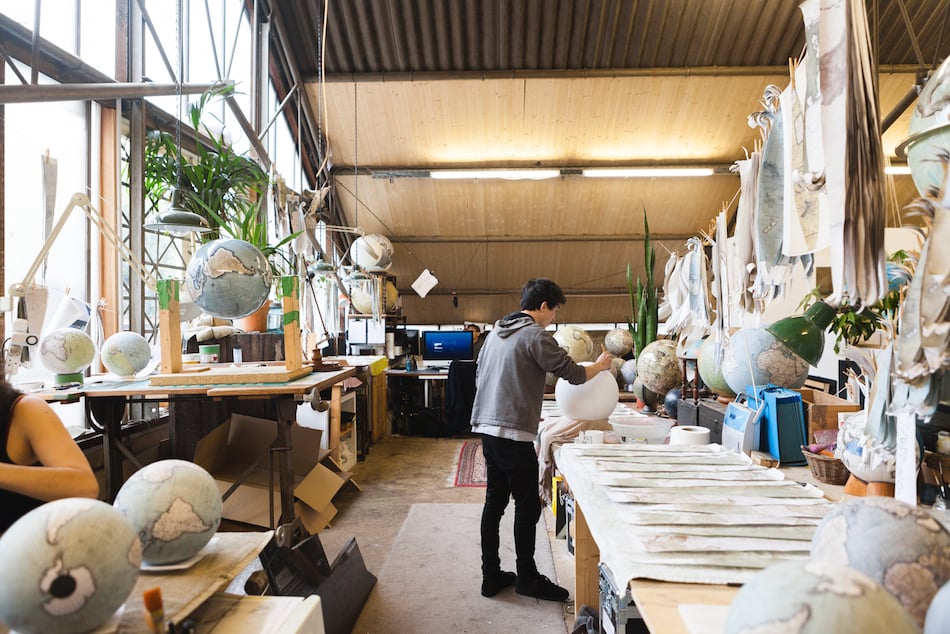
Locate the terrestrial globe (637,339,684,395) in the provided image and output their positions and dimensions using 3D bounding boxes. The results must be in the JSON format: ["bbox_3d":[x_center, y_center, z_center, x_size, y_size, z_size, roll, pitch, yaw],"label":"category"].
[{"bbox_3d":[1.168,0.308,4.250,0.274,0.368,0.293,-5,4,-12],"label":"terrestrial globe"}]

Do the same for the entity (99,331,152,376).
[{"bbox_3d":[-2.035,0.220,3.958,0.260,0.269,0.247,1,-21,16],"label":"entity"}]

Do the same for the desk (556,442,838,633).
[{"bbox_3d":[0.805,0.734,2.473,0.501,0.472,0.894,1,1,1],"label":"desk"}]

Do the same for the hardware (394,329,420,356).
[{"bbox_3d":[-0.873,0.325,8.373,0.290,0.302,0.144,2,-6,-41],"label":"hardware"}]

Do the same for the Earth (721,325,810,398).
[{"bbox_3d":[1.205,0.213,2.840,0.273,0.306,0.296,22,-13,-12],"label":"Earth"}]

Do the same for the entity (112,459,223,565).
[{"bbox_3d":[-1.037,0.624,2.380,0.323,0.351,0.330,20,-15,-9],"label":"entity"}]

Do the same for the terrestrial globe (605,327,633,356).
[{"bbox_3d":[1.255,0.222,5.804,0.185,0.212,0.209,8,-11,4],"label":"terrestrial globe"}]

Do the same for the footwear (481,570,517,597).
[{"bbox_3d":[0.130,1.531,3.915,0.271,0.132,0.092,-2,0,-42],"label":"footwear"}]

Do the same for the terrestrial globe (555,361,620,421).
[{"bbox_3d":[0.703,0.452,4.362,0.344,0.457,0.358,0,15,-17],"label":"terrestrial globe"}]

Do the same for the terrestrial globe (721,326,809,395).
[{"bbox_3d":[1.214,0.220,2.836,0.272,0.304,0.296,22,-14,-12],"label":"terrestrial globe"}]

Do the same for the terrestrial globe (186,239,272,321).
[{"bbox_3d":[-1.318,-0.252,3.601,0.392,0.448,0.401,9,22,16],"label":"terrestrial globe"}]

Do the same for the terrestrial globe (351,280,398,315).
[{"bbox_3d":[-1.188,-0.241,7.941,0.369,0.295,0.938,0,0,24],"label":"terrestrial globe"}]

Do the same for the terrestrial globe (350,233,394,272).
[{"bbox_3d":[-1.137,-0.663,7.246,0.420,0.386,0.399,1,17,28],"label":"terrestrial globe"}]

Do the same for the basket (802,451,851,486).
[{"bbox_3d":[1.502,0.651,2.853,0.125,0.061,0.133,0,0,20],"label":"basket"}]

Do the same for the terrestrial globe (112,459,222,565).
[{"bbox_3d":[-1.042,0.667,2.372,0.319,0.352,0.333,14,-21,-4],"label":"terrestrial globe"}]

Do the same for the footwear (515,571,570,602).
[{"bbox_3d":[0.371,1.512,3.800,0.322,0.158,0.128,2,-1,4],"label":"footwear"}]

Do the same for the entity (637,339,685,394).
[{"bbox_3d":[1.150,0.336,4.306,0.273,0.366,0.295,-5,14,-5],"label":"entity"}]

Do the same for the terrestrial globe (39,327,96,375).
[{"bbox_3d":[-2.189,0.203,3.592,0.231,0.257,0.250,4,-7,-7],"label":"terrestrial globe"}]

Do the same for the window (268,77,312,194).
[{"bbox_3d":[-2.143,-2.056,7.791,0.440,0.915,1.634,0,0,-12],"label":"window"}]

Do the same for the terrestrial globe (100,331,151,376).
[{"bbox_3d":[-2.018,0.220,3.954,0.261,0.271,0.248,1,-21,16],"label":"terrestrial globe"}]

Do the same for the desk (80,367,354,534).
[{"bbox_3d":[-1.585,0.900,4.369,1.151,0.836,1.265,-1,3,-1],"label":"desk"}]
